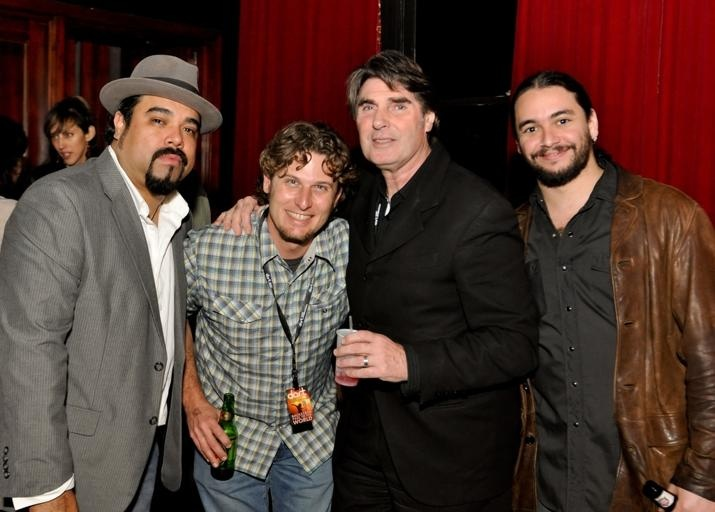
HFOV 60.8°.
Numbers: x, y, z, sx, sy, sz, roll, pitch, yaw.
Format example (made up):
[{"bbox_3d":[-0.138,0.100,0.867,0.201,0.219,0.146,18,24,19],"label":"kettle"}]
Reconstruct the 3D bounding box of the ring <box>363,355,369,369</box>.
[{"bbox_3d":[0.032,0.415,2.398,0.024,0.045,0.005,3,2,17],"label":"ring"}]

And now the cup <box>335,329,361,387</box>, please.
[{"bbox_3d":[-0.046,0.414,2.518,0.090,0.240,0.203,2,2,-3],"label":"cup"}]

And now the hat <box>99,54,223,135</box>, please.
[{"bbox_3d":[-0.901,-0.699,2.689,0.377,0.165,0.396,20,-25,-32],"label":"hat"}]
